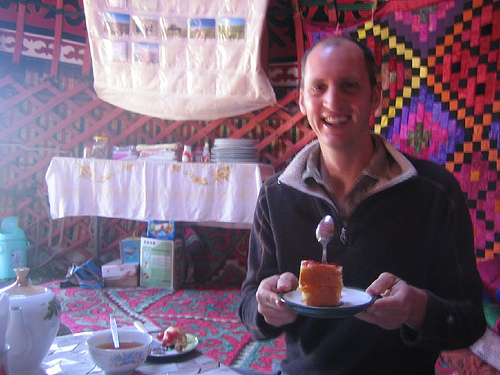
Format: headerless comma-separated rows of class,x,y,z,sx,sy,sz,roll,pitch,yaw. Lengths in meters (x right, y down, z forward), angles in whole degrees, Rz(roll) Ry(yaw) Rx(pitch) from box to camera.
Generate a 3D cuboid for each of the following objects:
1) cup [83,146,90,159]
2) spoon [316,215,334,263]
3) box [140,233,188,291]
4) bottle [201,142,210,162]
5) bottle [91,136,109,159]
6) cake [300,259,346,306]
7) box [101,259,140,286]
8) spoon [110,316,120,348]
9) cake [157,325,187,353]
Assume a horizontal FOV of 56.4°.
cup,-1.400,-0.311,4.025,0.046,0.084,0.087,0,9,-17
spoon,0.282,0.184,1.722,0.070,0.167,0.046,0,8,-14
box,-0.748,0.653,4.164,0.354,0.403,0.400,2,-4,12
bottle,-0.389,-0.304,4.109,0.077,0.130,0.107,1,8,-7
bottle,-1.297,-0.358,4.060,0.163,0.179,0.161,-3,10,-35
cake,0.255,0.322,1.609,0.120,0.121,0.123,4,5,-13
box,-1.108,0.738,4.034,0.306,0.193,0.107,2,8,-7
spoon,-0.436,0.461,1.510,0.019,0.152,0.024,-7,-10,-5
cake,-0.269,0.524,1.657,0.073,0.035,0.067,23,11,26
